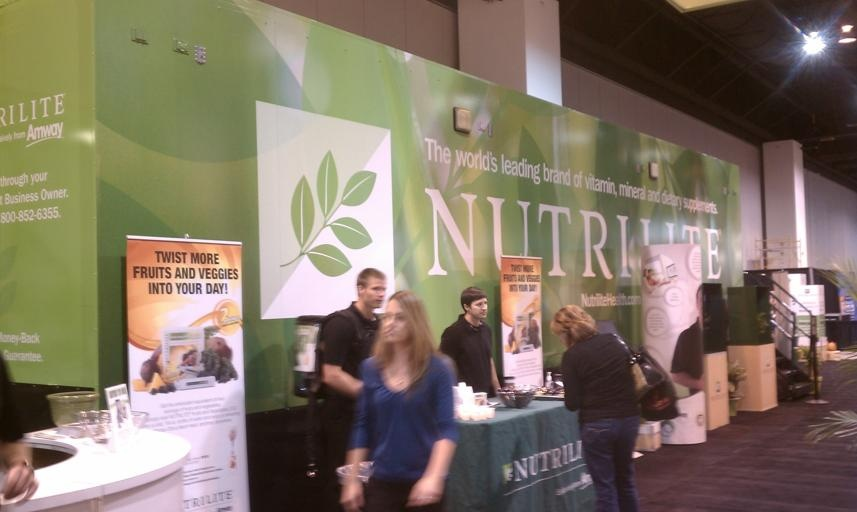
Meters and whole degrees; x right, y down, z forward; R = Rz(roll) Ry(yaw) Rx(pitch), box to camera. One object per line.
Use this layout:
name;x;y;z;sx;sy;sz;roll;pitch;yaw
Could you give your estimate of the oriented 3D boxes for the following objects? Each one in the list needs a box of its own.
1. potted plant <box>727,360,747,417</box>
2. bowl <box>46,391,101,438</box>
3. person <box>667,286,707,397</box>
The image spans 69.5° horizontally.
potted plant;4.896;2.078;9.853;0.293;0.803;0.615;-9;-8;25
bowl;-2.274;0.983;3.947;0.307;0.238;0.304;-1;-10;0
person;3.300;1.232;7.951;0.455;1.057;0.184;-3;-8;-16
